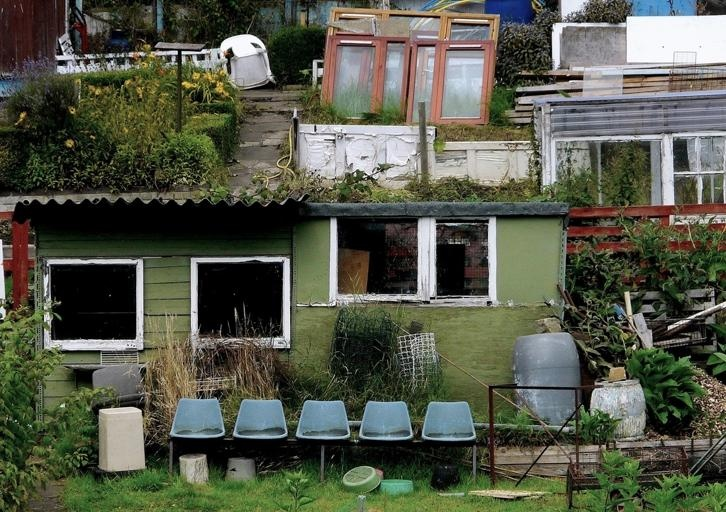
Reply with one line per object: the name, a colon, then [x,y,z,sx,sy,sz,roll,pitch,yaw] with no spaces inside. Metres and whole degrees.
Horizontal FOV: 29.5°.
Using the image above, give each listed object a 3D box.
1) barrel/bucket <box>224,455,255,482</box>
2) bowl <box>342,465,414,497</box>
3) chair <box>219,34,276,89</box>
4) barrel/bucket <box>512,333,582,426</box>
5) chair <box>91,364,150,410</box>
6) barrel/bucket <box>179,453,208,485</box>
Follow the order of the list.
barrel/bucket: [-1.678,2.939,18.833,0.292,0.247,0.305,1,-3,0]
bowl: [0.159,3.092,18.579,0.673,0.181,0.438,5,10,5]
chair: [-2.440,-3.957,28.066,0.864,0.992,1.216,-14,10,-9]
barrel/bucket: [2.604,1.800,19.441,0.833,1.384,0.730,-4,-26,0]
chair: [-3.491,1.883,19.634,0.709,0.556,0.650,-3,3,-11]
barrel/bucket: [-2.324,2.945,18.747,0.360,0.350,0.360,-2,4,0]
